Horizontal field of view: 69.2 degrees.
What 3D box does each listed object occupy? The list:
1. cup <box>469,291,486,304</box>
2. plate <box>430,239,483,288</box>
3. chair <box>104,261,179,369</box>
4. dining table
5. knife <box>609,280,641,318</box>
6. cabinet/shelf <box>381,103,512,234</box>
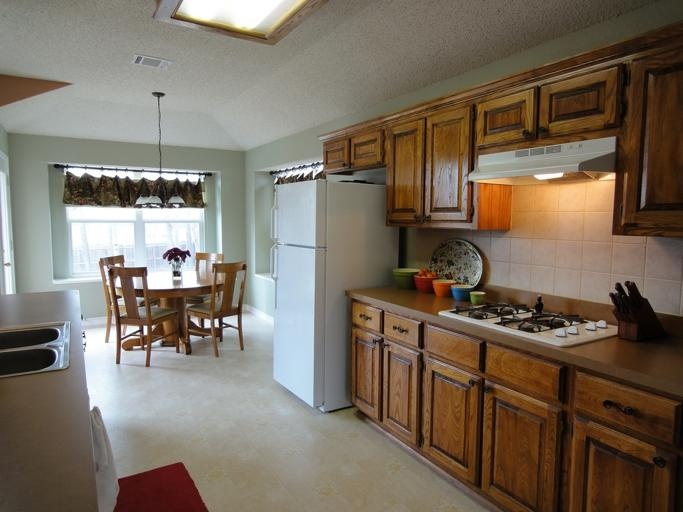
[{"bbox_3d":[0.969,0.296,3.541,0.099,0.073,0.091,3,-4,0],"label":"cup"},{"bbox_3d":[0.905,0.033,3.931,0.087,0.339,0.521,-8,15,-33],"label":"plate"},{"bbox_3d":[-2.179,0.560,5.489,0.654,1.063,1.119,-5,13,-23],"label":"chair"},{"bbox_3d":[-1.863,0.515,5.639,0.935,0.673,0.934,0,-1,-15],"label":"dining table"},{"bbox_3d":[1.565,0.239,2.732,0.153,0.204,0.073,1,13,5],"label":"knife"},{"bbox_3d":[0.769,-0.639,3.556,0.438,0.853,1.040,-1,4,-26],"label":"cabinet/shelf"}]
